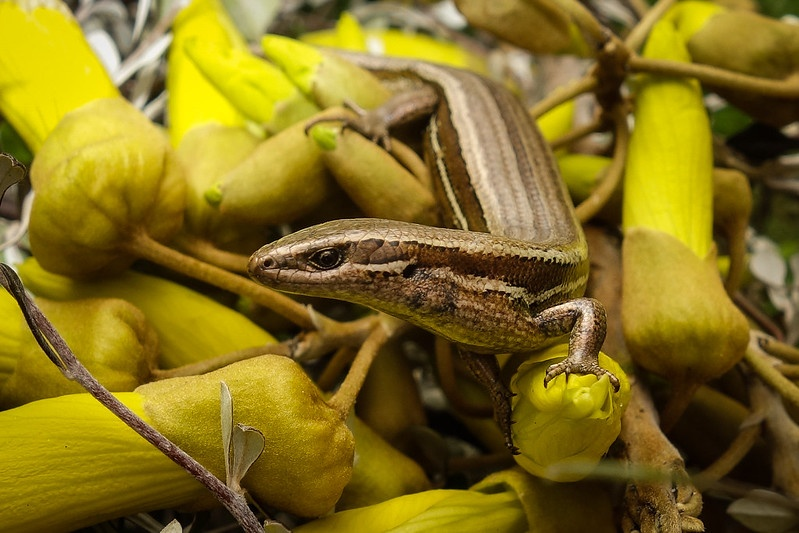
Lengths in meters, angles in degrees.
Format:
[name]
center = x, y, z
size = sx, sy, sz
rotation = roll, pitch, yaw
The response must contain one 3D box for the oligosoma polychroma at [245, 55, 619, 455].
[oligosoma polychroma]
center = 0.110, -0.033, 1.238
size = 0.351, 0.157, 0.580
rotation = 8, 52, 2
